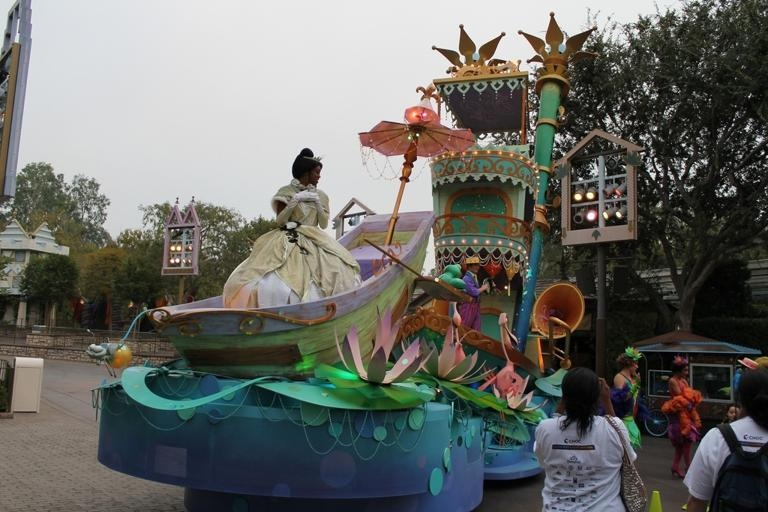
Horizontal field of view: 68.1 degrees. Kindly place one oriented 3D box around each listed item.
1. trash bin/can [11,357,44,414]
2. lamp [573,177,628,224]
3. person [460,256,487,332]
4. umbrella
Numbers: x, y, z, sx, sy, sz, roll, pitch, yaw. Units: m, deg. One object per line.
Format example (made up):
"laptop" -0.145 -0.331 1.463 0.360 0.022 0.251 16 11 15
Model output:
"trash bin/can" -9.279 3.268 14.687 0.708 1.466 0.443 -2 2 -35
"lamp" 5.800 -1.441 15.131 1.212 0.887 0.373 -4 -11 30
"person" 1.690 0.706 10.795 0.521 1.336 2.511 0 2 9
"umbrella" 0.559 -1.315 10.358 1.947 2.087 1.140 -1 2 -2
